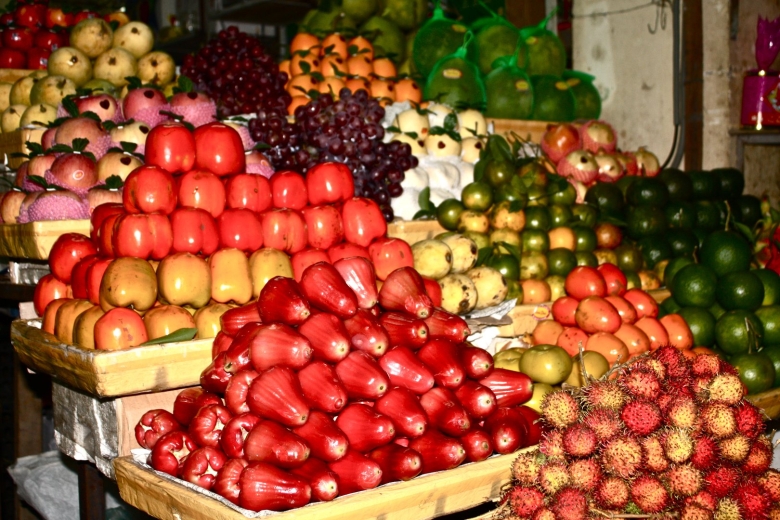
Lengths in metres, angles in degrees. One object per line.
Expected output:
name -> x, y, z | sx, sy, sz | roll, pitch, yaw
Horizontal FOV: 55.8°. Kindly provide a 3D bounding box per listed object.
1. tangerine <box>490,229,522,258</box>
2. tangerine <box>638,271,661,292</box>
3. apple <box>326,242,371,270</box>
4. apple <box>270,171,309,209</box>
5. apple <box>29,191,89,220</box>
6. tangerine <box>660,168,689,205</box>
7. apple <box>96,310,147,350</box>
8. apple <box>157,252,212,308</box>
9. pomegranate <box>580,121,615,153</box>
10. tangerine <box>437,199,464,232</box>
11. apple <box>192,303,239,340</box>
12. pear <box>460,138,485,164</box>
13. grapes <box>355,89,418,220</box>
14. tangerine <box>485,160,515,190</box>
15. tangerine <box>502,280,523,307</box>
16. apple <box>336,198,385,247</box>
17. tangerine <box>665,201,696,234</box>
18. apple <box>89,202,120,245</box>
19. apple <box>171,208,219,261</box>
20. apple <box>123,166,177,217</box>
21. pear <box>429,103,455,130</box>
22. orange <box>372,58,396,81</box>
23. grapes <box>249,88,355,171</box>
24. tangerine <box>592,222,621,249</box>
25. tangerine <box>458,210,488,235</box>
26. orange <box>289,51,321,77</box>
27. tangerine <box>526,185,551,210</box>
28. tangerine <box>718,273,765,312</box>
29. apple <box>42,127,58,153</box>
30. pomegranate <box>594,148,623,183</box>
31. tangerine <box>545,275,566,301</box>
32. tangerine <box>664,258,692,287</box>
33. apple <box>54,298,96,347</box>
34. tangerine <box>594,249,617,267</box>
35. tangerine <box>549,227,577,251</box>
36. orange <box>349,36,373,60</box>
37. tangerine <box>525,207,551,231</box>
tangerine -> 0.563, -0.082, 3.610 | 0.150, 0.113, 0.139 | 1, 15, 7
tangerine -> 1.338, 0.111, 3.796 | 0.101, 0.109, 0.099 | -3, 9, -41
apple -> -0.175, -0.014, 3.063 | 0.174, 0.107, 0.410 | -2, 15, -4
apple -> -0.472, -0.318, 3.360 | 0.159, 0.204, 0.161 | -3, -6, -15
apple -> -1.606, -0.224, 3.554 | 0.185, 0.146, 0.181 | -1, -3, 25
tangerine -> 1.627, -0.416, 4.234 | 0.163, 0.176, 0.181 | 20, -18, 35
apple -> -1.021, 0.271, 2.769 | 0.193, 0.141, 0.177 | -7, 16, -22
apple -> -0.799, 0.085, 2.936 | 0.185, 0.202, 0.205 | -1, -3, 15
pomegranate -> 1.269, -0.739, 4.461 | 0.189, 0.117, 0.202 | 8, 37, -33
tangerine -> 0.307, -0.229, 3.811 | 0.133, 0.171, 0.140 | 3, 9, 25
apple -> -0.717, 0.251, 2.991 | 0.123, 0.165, 0.141 | 1, -1, 8
pear -> 0.466, -0.628, 4.229 | 0.123, 0.139, 0.129 | 4, 15, 18
grapes -> -0.024, -0.534, 3.771 | 0.313, 0.628, 0.329 | 0, 14, 2
tangerine -> 0.579, -0.457, 3.936 | 0.124, 0.160, 0.133 | 11, 41, 9
tangerine -> 0.552, 0.151, 3.441 | 0.092, 0.098, 0.119 | 8, 51, -3
apple -> -0.149, -0.205, 3.362 | 0.200, 0.225, 0.263 | -10, 9, -35
tangerine -> 1.610, -0.238, 4.078 | 0.154, 0.200, 0.161 | 4, 25, 4
apple -> -1.231, -0.155, 3.159 | 0.159, 0.180, 0.159 | -5, 13, -43
apple -> -0.803, -0.108, 3.092 | 0.172, 0.186, 0.176 | -14, -9, -7
apple -> -1.002, -0.308, 3.105 | 0.219, 0.230, 0.205 | -3, 11, -24
pear -> 0.299, -0.839, 4.301 | 0.159, 0.137, 0.197 | 0, 15, 2
orange -> -0.042, -1.263, 4.835 | 0.148, 0.116, 0.204 | -1, 15, -2
grapes -> -0.457, -0.633, 3.614 | 0.351, 0.240, 0.492 | -15, 24, -2
tangerine -> 1.146, -0.121, 3.891 | 0.123, 0.163, 0.134 | 0, -4, 14
tangerine -> 0.407, -0.192, 3.706 | 0.110, 0.116, 0.134 | 28, 6, 0
orange -> -0.542, -1.226, 4.635 | 0.154, 0.149, 0.142 | -30, 33, -19
tangerine -> 0.767, -0.324, 3.824 | 0.107, 0.115, 0.132 | -4, -35, 20
tangerine -> 1.647, 0.150, 3.529 | 0.177, 0.182, 0.171 | -29, 6, -11
apple -> -1.880, -0.661, 4.036 | 0.085, 0.113, 0.264 | -7, 16, -24
pomegranate -> 1.299, -0.547, 4.343 | 0.163, 0.169, 0.101 | -8, -24, -38
tangerine -> 0.800, 0.133, 3.542 | 0.096, 0.105, 0.122 | 4, 34, -7
tangerine -> 1.441, 0.056, 3.719 | 0.134, 0.177, 0.141 | 2, 1, 2
apple -> -1.237, 0.256, 2.987 | 0.159, 0.233, 0.165 | 4, -6, -4
tangerine -> 1.117, -0.009, 3.818 | 0.089, 0.098, 0.112 | 1, 1, 8
tangerine -> 0.865, -0.104, 3.735 | 0.112, 0.121, 0.137 | -6, 37, -3
orange -> -0.198, -1.401, 4.884 | 0.132, 0.147, 0.187 | -2, 6, -4
tangerine -> 0.742, -0.205, 3.721 | 0.109, 0.144, 0.115 | -2, 7, 15
